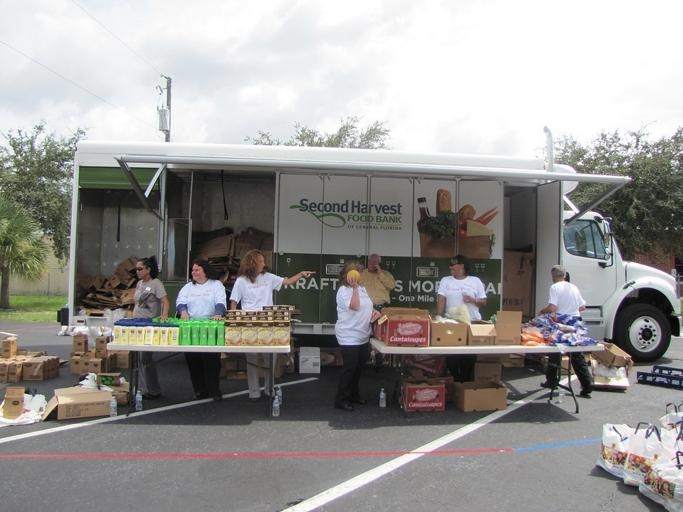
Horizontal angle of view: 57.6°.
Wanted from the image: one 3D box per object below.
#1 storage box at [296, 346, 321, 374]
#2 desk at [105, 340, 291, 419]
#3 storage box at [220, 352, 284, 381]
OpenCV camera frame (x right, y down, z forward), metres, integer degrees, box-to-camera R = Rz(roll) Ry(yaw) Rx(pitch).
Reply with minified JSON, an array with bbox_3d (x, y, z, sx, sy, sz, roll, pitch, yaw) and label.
[{"bbox_3d":[-0.513,1.699,10.340,0.449,0.483,0.347,0,5,2],"label":"storage box"},{"bbox_3d":[-1.894,1.551,8.261,2.160,1.008,0.708,0,11,-5],"label":"desk"},{"bbox_3d":[-1.614,1.772,9.940,0.835,0.428,0.605,0,-3,-3],"label":"storage box"}]
